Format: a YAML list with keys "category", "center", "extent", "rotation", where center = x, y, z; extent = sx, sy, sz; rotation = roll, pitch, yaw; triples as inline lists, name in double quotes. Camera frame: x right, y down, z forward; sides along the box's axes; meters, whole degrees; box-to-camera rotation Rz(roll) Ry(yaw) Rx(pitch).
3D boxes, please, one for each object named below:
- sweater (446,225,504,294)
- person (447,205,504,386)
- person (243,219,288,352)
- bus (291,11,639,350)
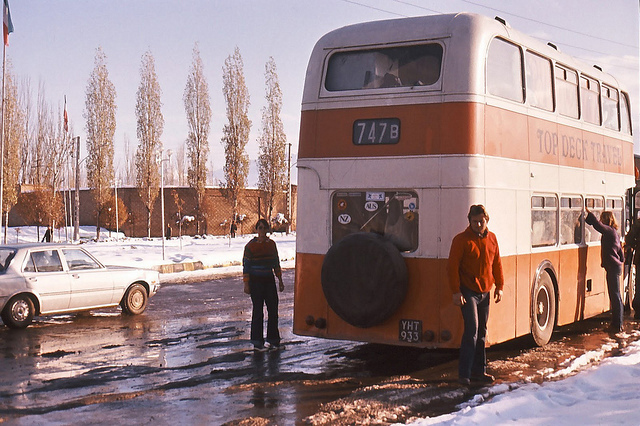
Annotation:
- category: "sweater"
  center: [2.553, 0.814, 9.547]
  extent: [0.978, 1.314, 0.523]
  rotation: [1, -3, -22]
- category: "person"
  center: [2.605, 1.402, 9.562]
  extent: [1.032, 3.032, 0.371]
  rotation: [-1, 1, -35]
- category: "person"
  center: [-1.184, 1.505, 11.770]
  extent: [0.801, 2.686, 0.455]
  rotation: [0, 1, -8]
- category: "bus"
  center: [3.104, -0.410, 11.467]
  extent: [6.883, 6.328, 2.361]
  rotation: [-1, 2, -31]
